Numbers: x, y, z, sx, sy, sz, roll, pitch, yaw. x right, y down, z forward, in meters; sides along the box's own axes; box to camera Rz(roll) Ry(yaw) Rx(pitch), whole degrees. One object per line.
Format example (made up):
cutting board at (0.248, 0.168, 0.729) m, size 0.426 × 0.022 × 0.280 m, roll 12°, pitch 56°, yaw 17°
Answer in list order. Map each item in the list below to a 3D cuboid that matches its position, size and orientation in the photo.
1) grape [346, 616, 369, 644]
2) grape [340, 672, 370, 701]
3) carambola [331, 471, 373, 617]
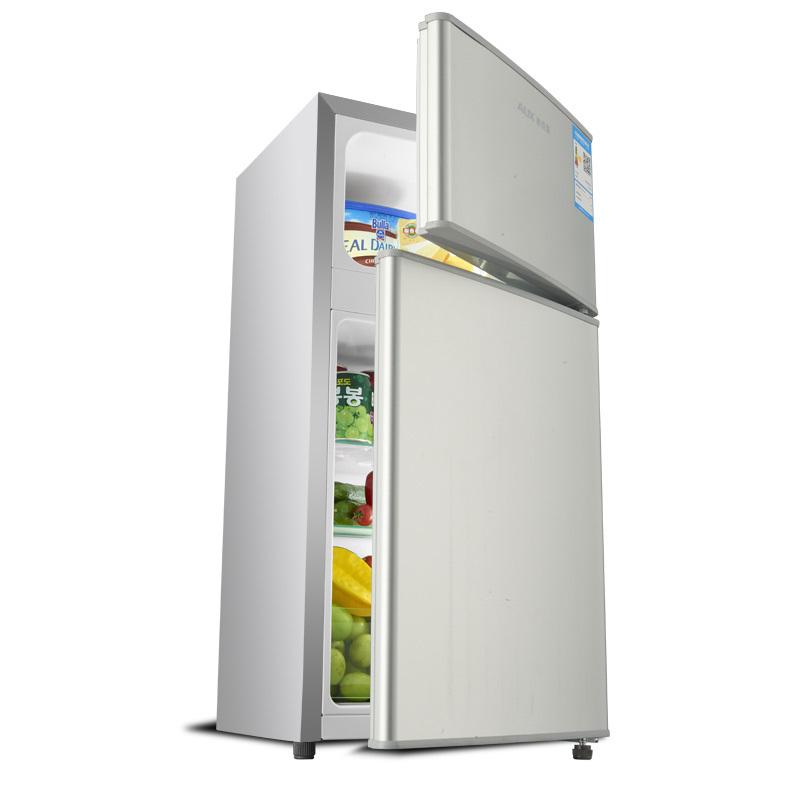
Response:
grape at (-0.077, 0.426, 1.485) m, size 0.043 × 0.052 × 0.041 m, roll 7°, pitch -20°, yaw -23°
grape at (-0.083, 0.523, 1.458) m, size 0.055 × 0.041 × 0.041 m, roll 6°, pitch -13°, yaw -44°
carambola at (-0.085, 0.279, 1.537) m, size 0.089 × 0.270 × 0.077 m, roll -3°, pitch -17°, yaw 6°
